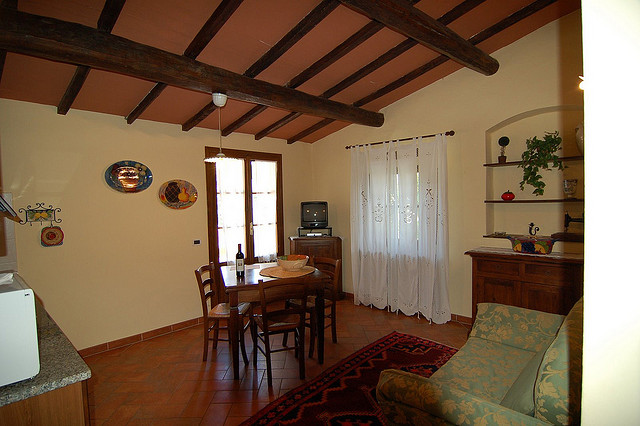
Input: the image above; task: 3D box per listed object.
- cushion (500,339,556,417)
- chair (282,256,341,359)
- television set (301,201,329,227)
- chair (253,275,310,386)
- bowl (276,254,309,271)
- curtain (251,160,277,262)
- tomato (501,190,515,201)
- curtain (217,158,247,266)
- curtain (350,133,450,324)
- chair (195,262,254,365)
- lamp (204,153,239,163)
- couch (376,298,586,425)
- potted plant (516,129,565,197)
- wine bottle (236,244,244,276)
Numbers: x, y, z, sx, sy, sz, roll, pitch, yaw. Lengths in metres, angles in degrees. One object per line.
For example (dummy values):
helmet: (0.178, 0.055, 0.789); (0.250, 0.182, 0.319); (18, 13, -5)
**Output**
cushion: (1.655, 1.153, 3.258); (0.166, 0.230, 0.987); (-14, 29, 39)
chair: (-0.120, 1.214, 4.985); (0.560, 1.046, 0.674); (-21, -31, 7)
television set: (-0.086, 0.014, 6.788); (0.470, 0.458, 0.355); (0, -2, -2)
chair: (-0.413, 1.187, 4.528); (0.568, 1.144, 0.668); (-3, 4, -19)
bowl: (-0.313, 0.562, 4.774); (0.313, 0.144, 0.333); (-2, 13, 0)
curtain: (-0.828, -0.052, 6.652); (0.517, 1.580, 0.303); (-9, 14, -27)
tomato: (2.322, -0.227, 5.132); (0.108, 0.107, 0.108); (1, 1, -24)
curtain: (-1.307, -0.028, 6.235); (0.288, 1.532, 0.664); (1, 13, 12)
curtain: (1.123, 0.185, 5.880); (1.639, 2.529, 0.479); (9, 17, 39)
chair: (-1.091, 1.158, 4.883); (0.654, 1.041, 0.578); (0, 2, 2)
lamp: (-1.295, -0.723, 5.391); (0.344, 0.081, 0.339); (-3, 5, -30)
couch: (1.376, 1.074, 3.303); (1.226, 0.706, 1.694); (7, 16, 35)
potted plant: (2.585, -0.553, 4.867); (0.470, 0.774, 0.516); (5, 15, 29)
wine bottle: (-0.893, 0.509, 4.618); (0.088, 0.350, 0.159); (-5, 13, -12)
